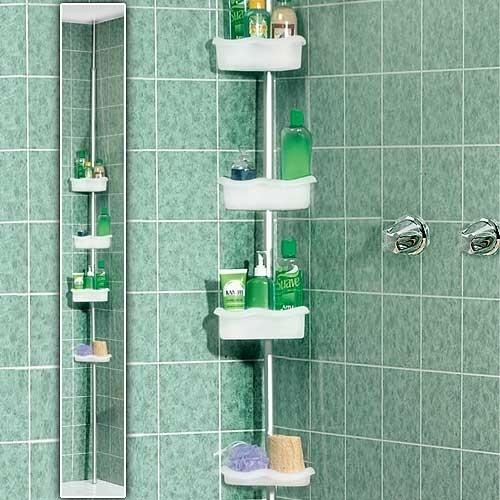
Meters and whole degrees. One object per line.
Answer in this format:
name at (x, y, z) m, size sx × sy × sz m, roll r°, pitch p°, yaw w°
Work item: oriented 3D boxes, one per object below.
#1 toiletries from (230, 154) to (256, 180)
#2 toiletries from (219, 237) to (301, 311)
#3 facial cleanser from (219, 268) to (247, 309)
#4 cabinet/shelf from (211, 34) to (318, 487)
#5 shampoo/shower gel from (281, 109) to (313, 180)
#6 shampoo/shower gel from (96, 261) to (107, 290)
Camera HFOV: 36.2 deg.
toiletries at (-0.019, -0.220, 2.106) m, size 0.050 × 0.063 × 0.087 m, roll 0°, pitch 83°, yaw -3°
toiletries at (0.029, 0.067, 2.113) m, size 0.127 × 0.051 × 0.172 m, roll 1°, pitch 81°, yaw -9°
facial cleanser at (-0.044, 0.113, 2.091) m, size 0.075 × 0.046 × 0.140 m, roll 2°, pitch 61°, yaw -10°
cabinet/shelf at (0.032, 0.042, 2.148) m, size 0.282 × 1.078 × 0.832 m, roll 0°, pitch 37°, yaw -4°
shampoo/shower gel at (0.122, -0.277, 2.042) m, size 0.076 × 0.151 × 0.091 m, roll 4°, pitch 35°, yaw 0°
shampoo/shower gel at (-0.433, 0.068, 2.219) m, size 0.037 × 0.057 × 0.044 m, roll -5°, pitch 38°, yaw -12°
